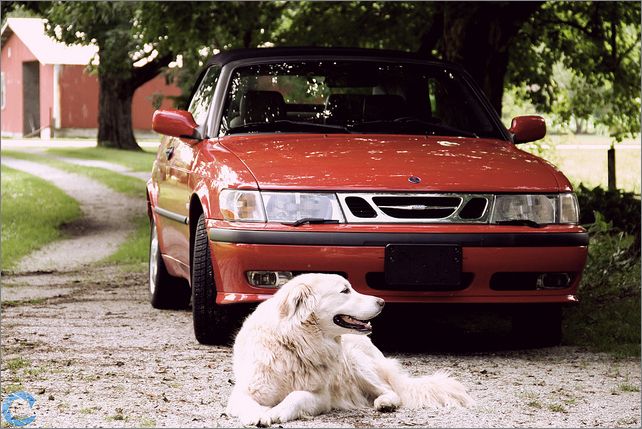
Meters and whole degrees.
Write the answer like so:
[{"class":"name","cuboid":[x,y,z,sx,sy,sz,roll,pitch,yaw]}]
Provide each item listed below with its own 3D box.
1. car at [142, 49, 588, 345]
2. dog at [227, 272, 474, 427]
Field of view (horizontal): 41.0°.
[{"class":"car","cuboid":[0.392,-0.238,8.497,4.241,2.884,2.553,1,8,9]},{"class":"dog","cuboid":[0.074,1.126,6.811,1.305,0.773,1.391,-2,4,3]}]
